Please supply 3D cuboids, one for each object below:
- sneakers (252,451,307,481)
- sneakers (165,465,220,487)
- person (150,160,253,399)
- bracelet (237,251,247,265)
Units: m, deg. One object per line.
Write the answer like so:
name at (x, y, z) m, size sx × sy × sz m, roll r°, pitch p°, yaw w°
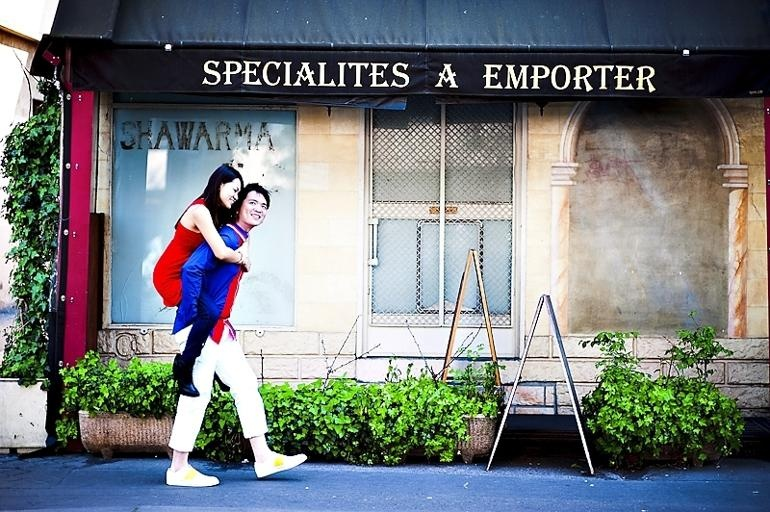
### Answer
sneakers at (-1.050, 2.035, 8.986) m, size 0.603 × 0.259 × 0.218 m, roll -17°, pitch -9°, yaw -4°
sneakers at (-1.911, 2.174, 8.887) m, size 0.536 × 0.215 × 0.198 m, roll 1°, pitch -4°, yaw -5°
person at (-1.765, -0.147, 8.610) m, size 0.854 × 2.051 × 0.406 m, roll 2°, pitch 0°, yaw -15°
bracelet at (-1.376, 0.028, 8.627) m, size 0.036 × 0.101 × 0.075 m, roll -14°, pitch 30°, yaw 14°
